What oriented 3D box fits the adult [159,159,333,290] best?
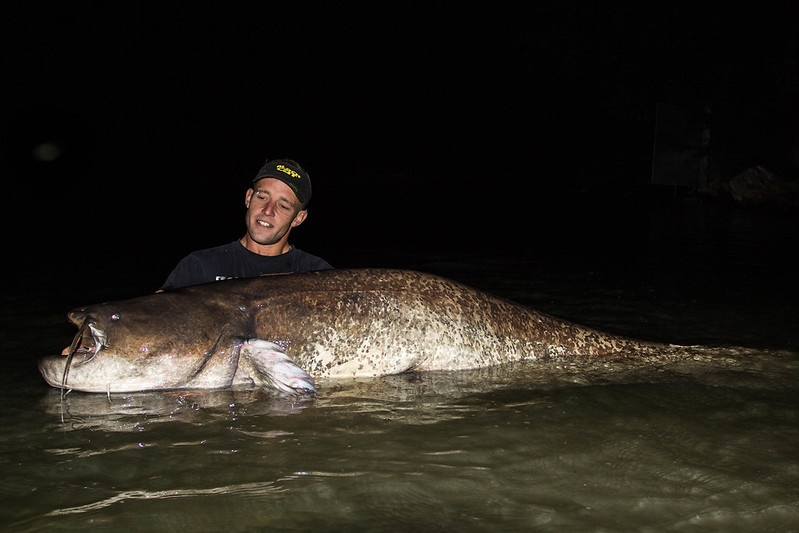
[{"bbox_3d":[-1.411,-0.366,9.368,3.250,1.455,1.196,2,0,-4],"label":"adult"}]
